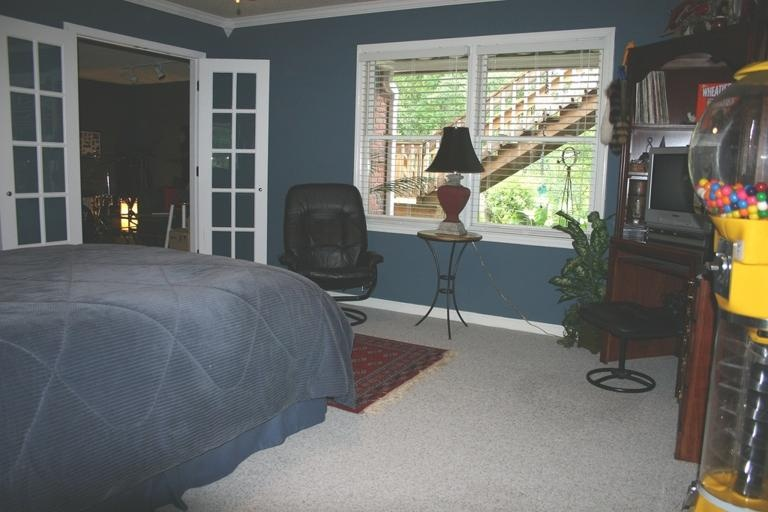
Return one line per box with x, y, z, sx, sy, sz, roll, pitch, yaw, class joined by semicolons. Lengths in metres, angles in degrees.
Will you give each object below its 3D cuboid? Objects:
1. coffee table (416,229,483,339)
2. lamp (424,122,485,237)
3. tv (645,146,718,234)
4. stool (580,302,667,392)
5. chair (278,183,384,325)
0.580;0.231;4.849;0.673;0.802;0.631;3;-1;14;coffee table
0.630;-0.665;4.643;0.446;0.911;0.466;7;16;22;lamp
2.189;-0.489;3.773;0.358;0.613;0.459;-17;21;-30;tv
1.631;0.657;3.620;0.546;0.413;0.481;5;4;15;stool
-0.505;-0.029;4.766;0.980;1.182;0.952;-5;14;-32;chair
